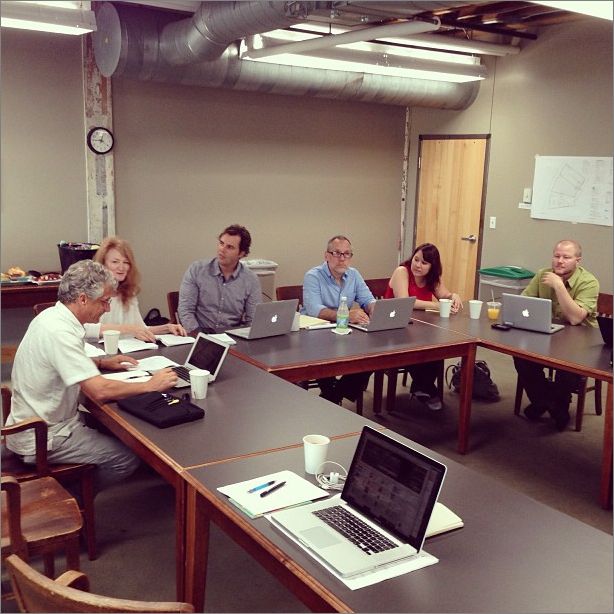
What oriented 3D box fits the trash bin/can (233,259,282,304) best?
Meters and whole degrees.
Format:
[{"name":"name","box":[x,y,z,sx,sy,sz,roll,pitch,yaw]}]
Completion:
[{"name":"trash bin/can","box":[-0.545,-0.316,6.320,0.516,0.607,0.511,-4,9,-34]}]

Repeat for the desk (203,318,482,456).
[{"name":"desk","box":[0.195,0.538,3.376,1.511,0.695,1.040,-5,10,-26]}]

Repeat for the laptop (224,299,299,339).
[{"name":"laptop","box":[-0.255,0.066,3.242,0.338,0.230,0.275,-6,18,-39]}]

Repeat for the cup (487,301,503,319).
[{"name":"cup","box":[1.400,0.025,3.932,0.142,0.135,0.133,0,0,0]}]

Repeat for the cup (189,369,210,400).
[{"name":"cup","box":[-0.454,0.332,2.234,0.115,0.110,0.111,1,3,0]}]

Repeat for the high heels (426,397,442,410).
[{"name":"high heels","box":[1.042,0.789,4.259,0.062,0.056,0.133,-3,11,-15]}]

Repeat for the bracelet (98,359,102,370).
[{"name":"bracelet","box":[-0.996,0.276,2.494,0.009,0.035,0.036,-1,9,-19]}]

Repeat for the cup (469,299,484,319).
[{"name":"cup","box":[1.260,0.020,3.906,0.136,0.138,0.133,1,1,0]}]

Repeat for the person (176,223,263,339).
[{"name":"person","box":[-0.593,-0.144,3.677,0.594,0.814,0.572,3,18,-17]}]

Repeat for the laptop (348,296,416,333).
[{"name":"laptop","box":[0.546,0.053,3.437,0.291,0.168,0.284,-3,7,-32]}]

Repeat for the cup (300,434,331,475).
[{"name":"cup","box":[0.022,0.444,1.569,0.102,0.093,0.099,3,3,0]}]

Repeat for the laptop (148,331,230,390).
[{"name":"laptop","box":[-0.510,0.223,2.449,0.235,0.159,0.262,-6,14,-37]}]

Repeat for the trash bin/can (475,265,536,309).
[{"name":"trash bin/can","box":[2.058,-0.217,5.379,0.498,0.619,0.487,-5,10,-29]}]

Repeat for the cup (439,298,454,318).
[{"name":"cup","box":[1.036,0.007,3.911,0.127,0.124,0.125,0,3,0]}]

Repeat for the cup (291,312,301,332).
[{"name":"cup","box":[-0.078,0.112,3.447,0.105,0.109,0.102,1,4,0]}]

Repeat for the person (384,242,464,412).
[{"name":"person","box":[0.972,0.144,4.300,0.592,1.304,0.761,-3,5,-24]}]

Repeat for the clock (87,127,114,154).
[{"name":"clock","box":[-2.155,-1.732,5.445,0.293,0.287,0.058,-6,14,-40]}]

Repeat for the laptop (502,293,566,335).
[{"name":"laptop","box":[1.581,0.013,3.648,0.364,0.235,0.275,11,23,40]}]

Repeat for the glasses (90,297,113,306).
[{"name":"glasses","box":[-0.904,-0.025,2.277,0.065,0.019,0.064,6,8,36]}]

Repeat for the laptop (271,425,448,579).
[{"name":"laptop","box":[0.108,0.451,1.241,0.313,0.189,0.333,-2,5,-25]}]

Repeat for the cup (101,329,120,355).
[{"name":"cup","box":[-1.022,0.189,2.714,0.120,0.128,0.115,0,-1,0]}]
